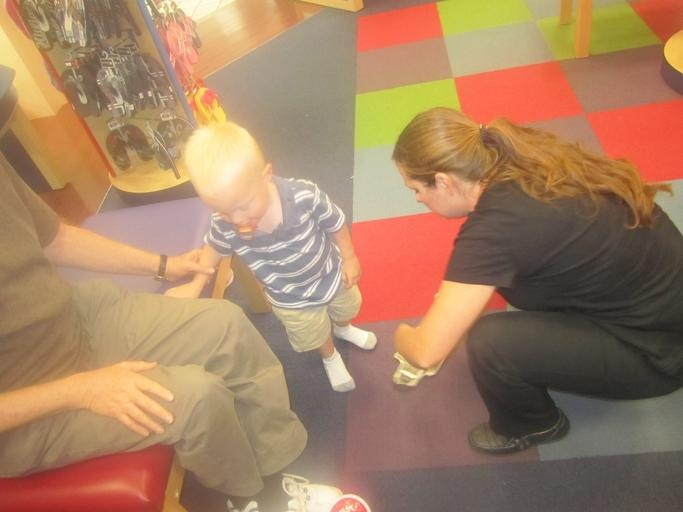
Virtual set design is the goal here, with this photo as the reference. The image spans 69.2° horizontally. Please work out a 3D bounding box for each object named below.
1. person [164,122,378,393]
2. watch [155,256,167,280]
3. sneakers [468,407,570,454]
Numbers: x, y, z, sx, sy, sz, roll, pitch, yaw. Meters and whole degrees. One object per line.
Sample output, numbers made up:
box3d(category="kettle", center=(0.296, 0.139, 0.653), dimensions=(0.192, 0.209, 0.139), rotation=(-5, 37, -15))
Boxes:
box3d(category="person", center=(-0.273, 0.131, 2.207), dimensions=(0.739, 1.549, 0.371), rotation=(-30, 50, -6))
box3d(category="watch", center=(-0.748, 0.056, 2.096), dimensions=(0.064, 0.088, 0.093), rotation=(1, 5, -10))
box3d(category="sneakers", center=(0.741, 0.799, 2.239), dimensions=(0.481, 0.189, 0.180), rotation=(-8, 51, 9))
